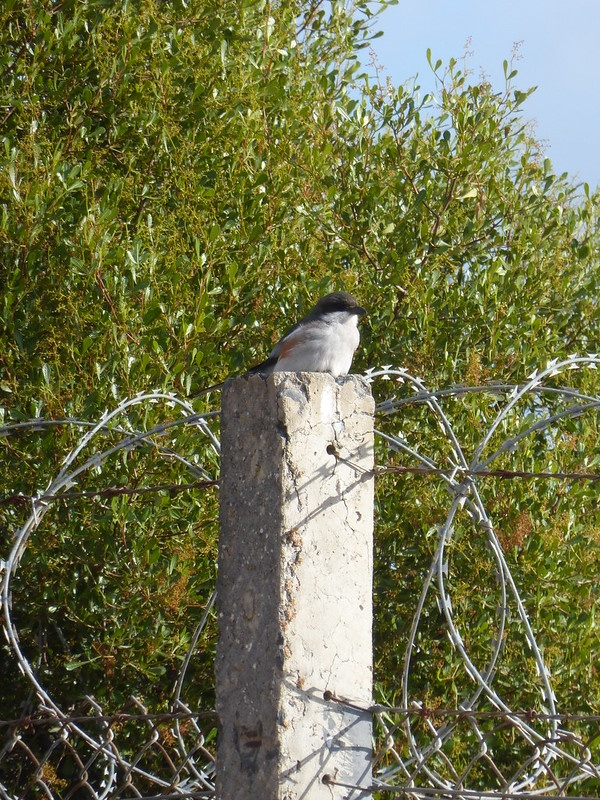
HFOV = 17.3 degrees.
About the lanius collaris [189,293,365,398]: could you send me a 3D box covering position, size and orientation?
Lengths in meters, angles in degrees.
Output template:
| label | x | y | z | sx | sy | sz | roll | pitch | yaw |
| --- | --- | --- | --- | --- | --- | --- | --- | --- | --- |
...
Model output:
| label | x | y | z | sx | sy | sz | roll | pitch | yaw |
| --- | --- | --- | --- | --- | --- | --- | --- | --- | --- |
| lanius collaris | -0.056 | -0.239 | 8.361 | 0.794 | 0.436 | 0.261 | 0 | -3 | 34 |
